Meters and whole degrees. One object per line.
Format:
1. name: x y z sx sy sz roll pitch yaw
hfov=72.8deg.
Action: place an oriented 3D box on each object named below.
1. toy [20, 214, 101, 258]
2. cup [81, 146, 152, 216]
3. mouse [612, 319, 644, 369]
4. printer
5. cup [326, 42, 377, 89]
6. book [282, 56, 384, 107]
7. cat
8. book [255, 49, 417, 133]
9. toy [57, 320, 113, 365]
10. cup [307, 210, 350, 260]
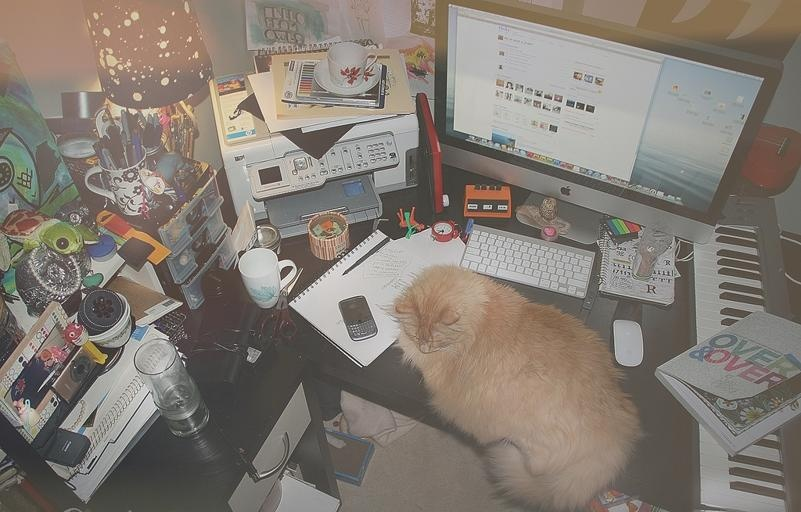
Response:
1. toy: -0.975 -0.060 1.491 0.156 0.178 0.067 -13 72 -52
2. cup: -0.825 -0.208 1.653 0.207 0.201 0.132 -9 61 -12
3. mouse: 0.671 0.261 1.590 0.085 0.029 0.125 -2 67 4
4. printer: -0.249 -0.321 2.004 0.694 0.456 0.610 -10 76 -4
5. cup: -0.160 -0.625 1.785 0.155 0.095 0.115 0 46 -8
6. book: -0.219 -0.559 1.757 0.285 0.046 0.167 3 68 3
7. cat: 0.333 0.368 1.643 0.759 0.381 0.469 28 49 32
8. book: -0.217 -0.512 1.785 0.424 0.073 0.321 -7 63 -2
9. toy: -0.867 0.242 1.496 0.061 0.043 0.147 -46 107 -26
10. cup: -0.234 -0.036 1.786 0.095 0.070 0.095 -3 23 1
